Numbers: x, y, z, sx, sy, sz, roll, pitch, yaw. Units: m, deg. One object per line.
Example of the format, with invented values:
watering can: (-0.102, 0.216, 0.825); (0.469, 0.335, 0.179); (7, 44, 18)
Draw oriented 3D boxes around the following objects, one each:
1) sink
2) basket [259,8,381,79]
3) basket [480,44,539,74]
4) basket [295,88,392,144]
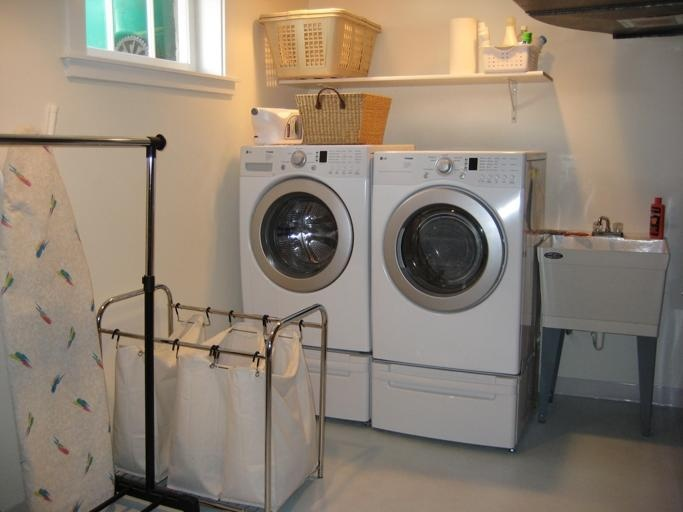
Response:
sink: (1.389, 0.060, 3.107); (0.813, 0.667, 0.461); (2, 7, 20)
basket: (-0.099, -1.216, 3.450); (0.461, 0.290, 0.566); (2, 3, 23)
basket: (0.951, -1.074, 3.188); (0.232, 0.116, 0.184); (3, 8, 30)
basket: (0.001, -0.708, 3.135); (0.381, 0.255, 0.372); (3, 9, 19)
